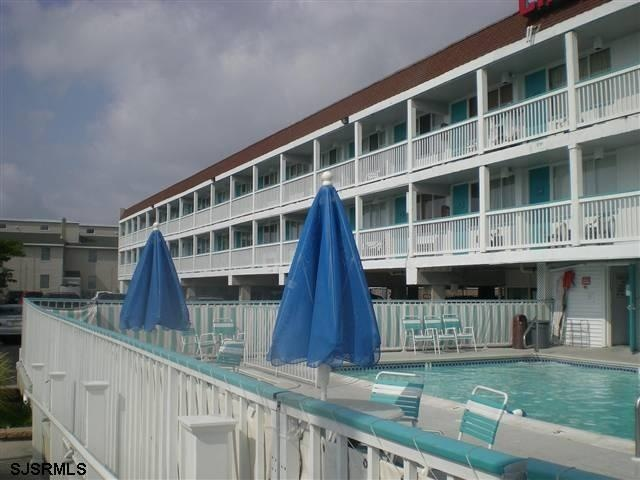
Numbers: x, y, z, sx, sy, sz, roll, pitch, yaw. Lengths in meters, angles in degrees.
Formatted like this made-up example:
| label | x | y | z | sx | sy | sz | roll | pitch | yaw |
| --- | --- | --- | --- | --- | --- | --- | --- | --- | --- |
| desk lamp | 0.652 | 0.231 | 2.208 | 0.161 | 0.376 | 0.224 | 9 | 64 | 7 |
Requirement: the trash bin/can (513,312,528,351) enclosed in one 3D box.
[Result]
| label | x | y | z | sx | sy | sz | roll | pitch | yaw |
| --- | --- | --- | --- | --- | --- | --- | --- | --- | --- |
| trash bin/can | 6.441 | 2.954 | 22.118 | 0.484 | 1.079 | 0.380 | -2 | -7 | 15 |

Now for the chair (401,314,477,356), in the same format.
| label | x | y | z | sx | sy | sz | roll | pitch | yaw |
| --- | --- | --- | --- | --- | --- | --- | --- | --- | --- |
| chair | 3.740 | 2.891 | 21.374 | 2.419 | 1.154 | 0.937 | 3 | -8 | -19 |

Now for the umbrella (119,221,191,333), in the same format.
| label | x | y | z | sx | sy | sz | roll | pitch | yaw |
| --- | --- | --- | --- | --- | --- | --- | --- | --- | --- |
| umbrella | -3.427 | 0.781 | 14.277 | 1.365 | 2.189 | 0.888 | 2 | -7 | -19 |

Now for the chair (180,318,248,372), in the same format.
| label | x | y | z | sx | sy | sz | roll | pitch | yaw |
| --- | --- | --- | --- | --- | --- | --- | --- | --- | --- |
| chair | -2.656 | 2.630 | 17.772 | 1.161 | 1.260 | 2.043 | 6 | -10 | -37 |

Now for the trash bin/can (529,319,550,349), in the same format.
| label | x | y | z | sx | sy | sz | roll | pitch | yaw |
| --- | --- | --- | --- | --- | --- | --- | --- | --- | --- |
| trash bin/can | 7.021 | 3.027 | 22.170 | 0.729 | 0.871 | 0.781 | 0 | -8 | -5 |

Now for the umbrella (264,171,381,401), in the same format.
| label | x | y | z | sx | sy | sz | roll | pitch | yaw |
| --- | --- | --- | --- | --- | --- | --- | --- | --- | --- |
| umbrella | 0.073 | 0.345 | 9.310 | 1.427 | 2.726 | 0.604 | 0 | -7 | 2 |
